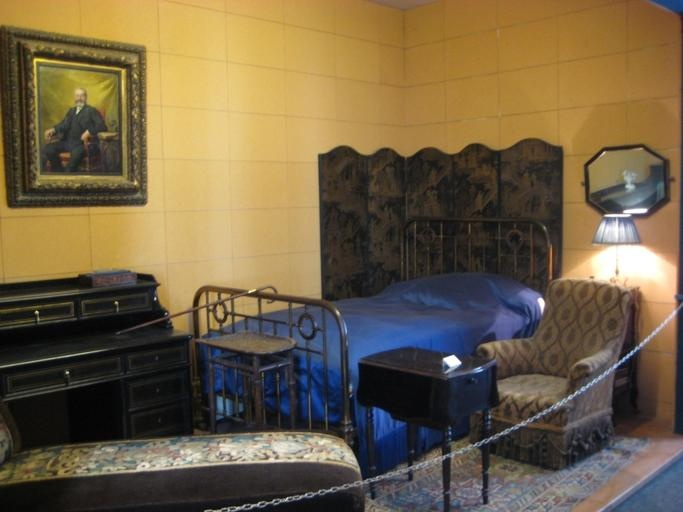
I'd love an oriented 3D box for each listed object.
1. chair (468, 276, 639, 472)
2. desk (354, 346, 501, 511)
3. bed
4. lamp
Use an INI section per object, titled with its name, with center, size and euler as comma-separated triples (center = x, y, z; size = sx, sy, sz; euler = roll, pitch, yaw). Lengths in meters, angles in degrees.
[chair]
center = 1.589, 0.842, 5.308
size = 1.365, 1.706, 1.248
euler = -2, 3, -35
[desk]
center = 0.573, 1.164, 4.186
size = 0.906, 1.009, 0.554
euler = 2, 7, 22
[bed]
center = 0.371, 0.619, 5.692
size = 1.908, 1.928, 2.920
euler = 3, 5, 43
[lamp]
center = 2.547, -0.089, 5.670
size = 0.396, 0.614, 0.364
euler = 3, 7, 30
